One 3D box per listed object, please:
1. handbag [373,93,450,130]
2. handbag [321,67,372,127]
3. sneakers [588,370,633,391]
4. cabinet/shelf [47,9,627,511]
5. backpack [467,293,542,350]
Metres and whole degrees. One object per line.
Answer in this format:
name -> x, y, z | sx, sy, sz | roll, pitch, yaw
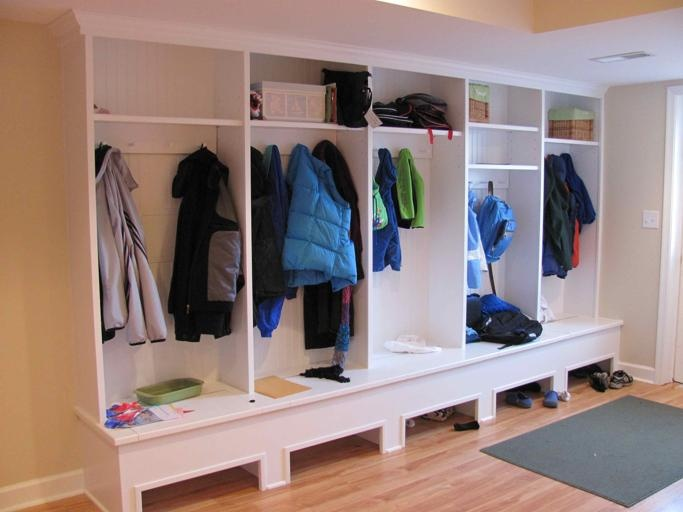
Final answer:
handbag -> 0.554, -1.088, 4.401 | 0.455, 0.155, 0.340 | -6, 15, -29
handbag -> 0.036, -1.099, 3.928 | 0.379, 0.397, 0.218 | 5, 12, 19
sneakers -> 2.527, 1.134, 5.286 | 0.422, 0.184, 0.166 | -6, 8, -30
cabinet/shelf -> -0.109, 0.040, 3.883 | 2.955, 1.874, 0.592 | -4, 3, -38
backpack -> 1.396, 0.521, 4.878 | 0.553, 0.187, 0.434 | -5, 7, -35
